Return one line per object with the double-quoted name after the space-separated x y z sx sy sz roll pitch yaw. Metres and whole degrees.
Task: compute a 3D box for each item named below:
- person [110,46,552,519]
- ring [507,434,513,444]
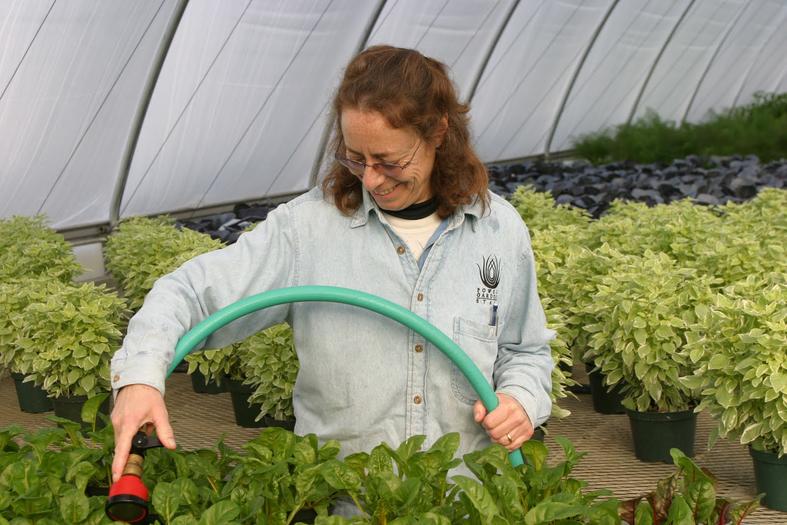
-0.065 0.004 1.998 1.436 1.431 0.696 12 13 -13 "person"
0.375 0.570 1.899 0.018 0.025 0.007 -9 -14 12 "ring"
